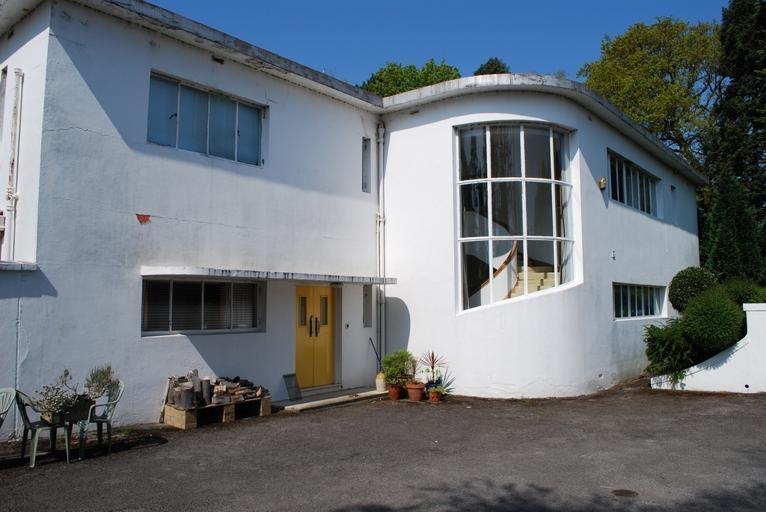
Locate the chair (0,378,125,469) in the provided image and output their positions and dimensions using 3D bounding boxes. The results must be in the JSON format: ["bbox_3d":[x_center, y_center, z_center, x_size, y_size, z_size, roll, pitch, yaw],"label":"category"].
[{"bbox_3d":[-5.934,2.974,10.234,1.898,1.423,1.248,1,-3,-36],"label":"chair"}]

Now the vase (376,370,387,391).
[{"bbox_3d":[-0.074,3.439,15.483,0.399,0.701,0.450,-1,-6,-1],"label":"vase"}]

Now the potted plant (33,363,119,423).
[{"bbox_3d":[-5.670,2.528,10.150,1.118,0.751,1.036,-2,-13,-32],"label":"potted plant"}]

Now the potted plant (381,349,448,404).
[{"bbox_3d":[0.998,3.181,15.008,1.379,1.081,1.304,-5,-8,42],"label":"potted plant"}]
